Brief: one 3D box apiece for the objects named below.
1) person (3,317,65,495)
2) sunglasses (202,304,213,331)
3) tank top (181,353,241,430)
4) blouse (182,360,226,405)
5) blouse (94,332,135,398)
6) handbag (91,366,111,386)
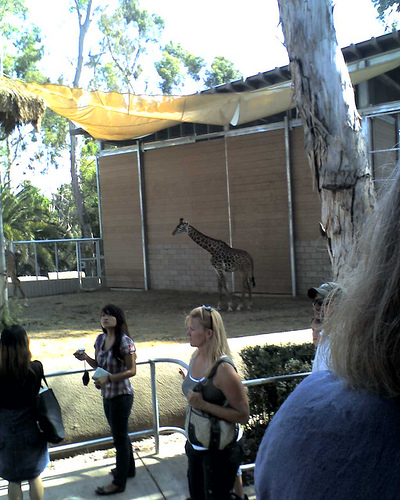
[{"bbox_3d":[-1.138,1.098,2.699,0.397,0.816,0.284,-4,3,-13],"label":"person"},{"bbox_3d":[0.043,0.436,2.559,0.046,0.133,0.141,0,-1,-30],"label":"sunglasses"},{"bbox_3d":[0.052,0.827,2.430,0.226,0.342,0.273,-6,-22,17],"label":"tank top"},{"bbox_3d":[0.023,0.826,2.394,0.213,0.179,0.140,4,-6,-8],"label":"blouse"},{"bbox_3d":[-0.675,0.913,3.186,0.307,0.499,0.428,-4,3,-15],"label":"blouse"},{"bbox_3d":[-0.746,0.941,2.993,0.038,0.147,0.151,-50,-6,-45],"label":"handbag"}]
